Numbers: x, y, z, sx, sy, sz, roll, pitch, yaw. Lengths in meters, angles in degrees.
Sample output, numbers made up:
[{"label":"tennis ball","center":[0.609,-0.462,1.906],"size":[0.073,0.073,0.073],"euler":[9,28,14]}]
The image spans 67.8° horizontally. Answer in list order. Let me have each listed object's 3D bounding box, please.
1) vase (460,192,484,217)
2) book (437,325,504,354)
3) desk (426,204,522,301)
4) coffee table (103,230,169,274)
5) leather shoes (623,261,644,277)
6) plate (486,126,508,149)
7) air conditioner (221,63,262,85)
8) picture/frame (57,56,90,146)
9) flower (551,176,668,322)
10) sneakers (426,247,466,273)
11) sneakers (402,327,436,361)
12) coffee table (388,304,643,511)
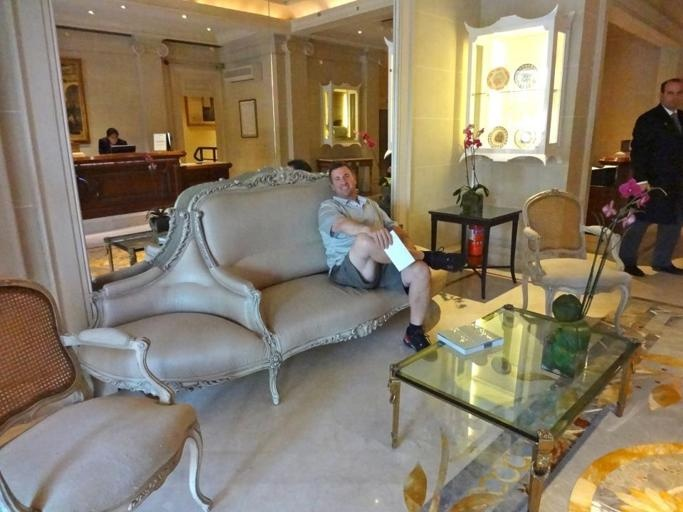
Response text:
[{"label":"vase","center":[1.105,-0.443,4.292],"size":[0.218,0.250,0.175],"euler":[7,14,30]},{"label":"book","center":[0.668,0.428,2.682],"size":[0.188,0.038,0.167],"euler":[-12,21,-27]},{"label":"desk","center":[1.155,-0.206,4.671],"size":[0.791,0.904,0.912],"euler":[-16,21,-42]},{"label":"coffee table","center":[-1.422,-0.095,3.465],"size":[0.296,0.220,0.396],"euler":[15,24,34]},{"label":"leather shoes","center":[2.545,0.116,4.433],"size":[0.093,0.076,0.188],"euler":[-20,20,-30]},{"label":"plate","center":[1.408,-1.072,4.607],"size":[0.180,0.185,0.050],"euler":[32,20,32]},{"label":"air conditioner","center":[-0.974,-1.835,5.070],"size":[0.255,0.207,0.447],"euler":[5,17,32]},{"label":"picture/frame","center":[-1.853,-1.094,3.542],"size":[0.152,0.603,0.383],"euler":[-11,16,-24]},{"label":"flower","center":[2.085,-0.037,3.924],"size":[0.551,1.551,0.862],"euler":[13,26,30]},{"label":"sneakers","center":[0.704,0.027,3.505],"size":[0.375,0.138,0.110],"euler":[12,-4,40]},{"label":"sneakers","center":[0.487,0.550,3.279],"size":[0.093,0.105,0.239],"euler":[-18,20,-29]},{"label":"coffee table","center":[0.874,0.676,2.606],"size":[1.125,0.489,0.794],"euler":[-17,19,-41]}]
